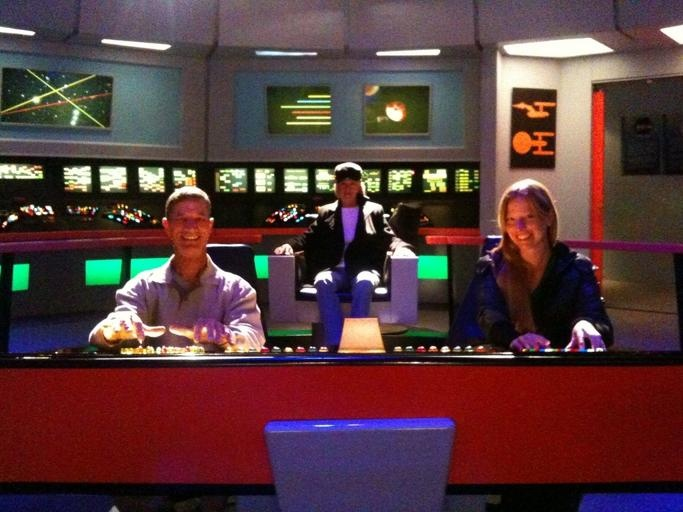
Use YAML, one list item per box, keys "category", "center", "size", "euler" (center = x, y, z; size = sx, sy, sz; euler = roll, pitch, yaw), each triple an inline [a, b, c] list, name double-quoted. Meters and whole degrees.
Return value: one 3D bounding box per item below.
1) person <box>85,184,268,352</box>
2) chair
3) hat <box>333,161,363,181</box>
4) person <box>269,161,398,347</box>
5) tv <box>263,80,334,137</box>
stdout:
- category: "person"
  center: [-0.526, 0.083, 2.009]
  size: [0.543, 0.605, 0.728]
  euler: [0, -5, -2]
- category: "chair"
  center: [0.009, 0.235, 4.030]
  size: [0.987, 0.629, 0.391]
  euler: [6, 12, 6]
- category: "hat"
  center: [0.044, -0.582, 4.235]
  size: [0.167, 0.127, 0.184]
  euler: [6, 12, 8]
- category: "person"
  center: [-0.028, 0.013, 4.143]
  size: [0.870, 1.293, 0.684]
  euler: [0, 1, -12]
- category: "tv"
  center: [-0.289, -1.463, 6.249]
  size: [0.911, 0.586, 0.482]
  euler: [7, 13, 30]
